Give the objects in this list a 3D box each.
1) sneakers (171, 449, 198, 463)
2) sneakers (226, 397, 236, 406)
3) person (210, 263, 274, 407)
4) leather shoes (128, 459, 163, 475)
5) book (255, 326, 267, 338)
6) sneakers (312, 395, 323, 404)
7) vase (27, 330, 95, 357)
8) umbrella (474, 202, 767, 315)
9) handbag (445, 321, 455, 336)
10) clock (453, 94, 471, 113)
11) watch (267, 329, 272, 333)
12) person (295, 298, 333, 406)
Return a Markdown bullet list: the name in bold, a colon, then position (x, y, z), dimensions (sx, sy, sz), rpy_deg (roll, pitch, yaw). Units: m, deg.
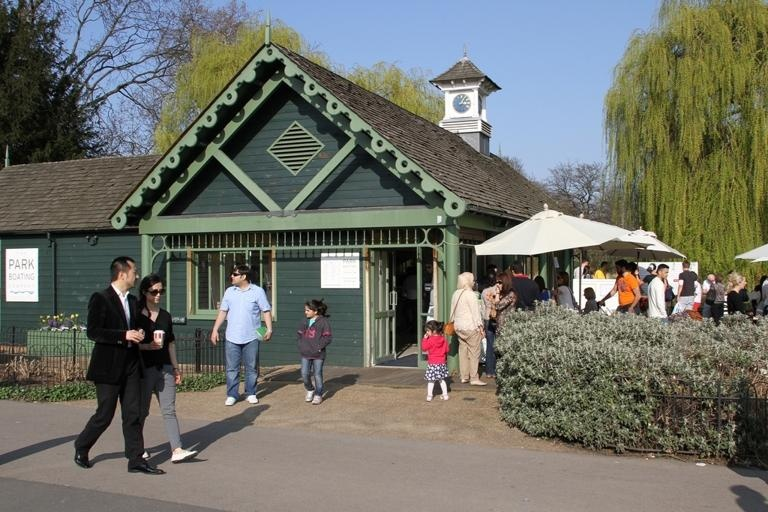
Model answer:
- **sneakers**: position (-3.316, 3.370, 13.877), dimensions (0.523, 0.248, 0.190), rpy_deg (-10, -14, 9)
- **sneakers**: position (-3.114, 2.939, 16.758), dimensions (0.229, 0.175, 0.229), rpy_deg (-3, 12, -11)
- **person**: position (-2.869, 1.638, 16.873), dimensions (1.132, 2.845, 0.908), rpy_deg (-3, 11, -11)
- **leather shoes**: position (-3.924, 3.465, 13.576), dimensions (0.635, 0.311, 0.240), rpy_deg (1, -5, 1)
- **book**: position (-2.482, 1.588, 16.747), dimensions (0.198, 0.218, 0.385), rpy_deg (-3, 12, -10)
- **sneakers**: position (-1.361, 2.931, 16.794), dimensions (0.111, 0.148, 0.323), rpy_deg (0, -11, 4)
- **vase**: position (-7.948, 2.181, 20.392), dimensions (1.239, 0.497, 0.871), rpy_deg (1, 0, 14)
- **umbrella**: position (4.411, -0.483, 19.141), dimensions (2.539, 1.455, 4.644), rpy_deg (10, 17, 42)
- **handbag**: position (1.428, 1.562, 17.898), dimensions (0.229, 0.283, 0.446), rpy_deg (0, 12, 6)
- **clock**: position (2.988, -5.792, 31.262), dimensions (0.581, 0.669, 0.623), rpy_deg (0, 3, 16)
- **watch**: position (-2.302, 1.532, 16.633), dimensions (0.075, 0.092, 0.080), rpy_deg (-1, 15, 5)
- **person**: position (-1.430, 1.949, 17.044), dimensions (0.644, 2.177, 1.027), rpy_deg (-2, 11, -6)
